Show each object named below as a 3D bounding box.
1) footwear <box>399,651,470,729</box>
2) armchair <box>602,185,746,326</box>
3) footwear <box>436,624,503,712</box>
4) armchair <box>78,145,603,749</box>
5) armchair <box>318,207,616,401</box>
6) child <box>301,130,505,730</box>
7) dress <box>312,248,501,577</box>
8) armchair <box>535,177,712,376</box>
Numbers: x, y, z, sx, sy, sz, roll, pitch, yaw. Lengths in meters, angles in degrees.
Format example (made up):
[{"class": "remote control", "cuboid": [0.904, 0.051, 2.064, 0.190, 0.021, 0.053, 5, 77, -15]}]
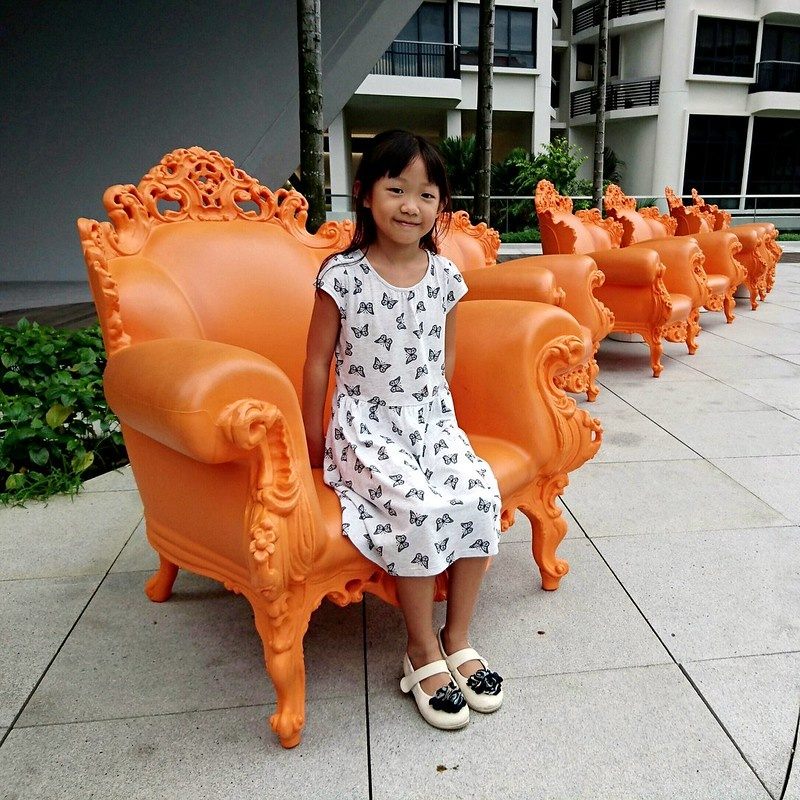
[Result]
[{"class": "footwear", "cuboid": [0.072, 0.577, 1.404, 0.074, 0.071, 0.157, -7, 14, -24]}, {"class": "armchair", "cuboid": [2.034, -1.048, 5.111, 0.904, 1.153, 0.832, -13, 7, -26]}, {"class": "footwear", "cuboid": [0.146, 0.544, 1.423, 0.061, 0.048, 0.171, -9, 27, -19]}, {"class": "armchair", "cuboid": [-0.159, -0.013, 1.788, 0.841, 1.190, 1.195, 9, 15, 41]}, {"class": "armchair", "cuboid": [0.476, -0.364, 2.872, 0.650, 0.863, 0.746, 9, 21, 35]}, {"class": "child", "cuboid": [0.004, 0.021, 1.453, 0.408, 1.094, 0.637, -3, 19, -9]}, {"class": "dress", "cuboid": [0.014, 0.005, 1.484, 0.382, 0.644, 0.432, 3, 14, 9]}, {"class": "armchair", "cuboid": [1.362, -0.775, 4.288, 0.881, 1.164, 0.938, 4, 16, 39]}]
